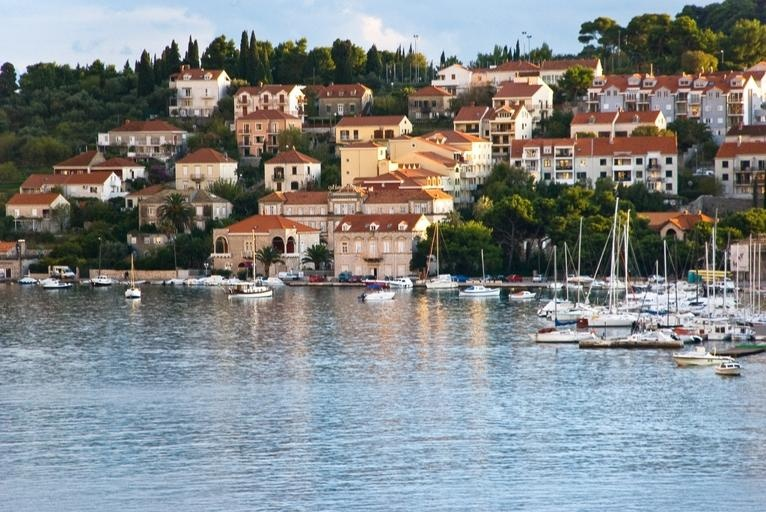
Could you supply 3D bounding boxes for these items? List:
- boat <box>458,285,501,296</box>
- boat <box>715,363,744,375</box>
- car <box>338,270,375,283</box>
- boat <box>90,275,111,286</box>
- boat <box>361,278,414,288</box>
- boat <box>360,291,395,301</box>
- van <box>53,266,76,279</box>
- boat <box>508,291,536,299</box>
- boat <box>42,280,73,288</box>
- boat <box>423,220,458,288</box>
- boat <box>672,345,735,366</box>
[{"bbox_3d":[10.555,4.133,220.356,4.484,1.313,1.681,-1,4,3],"label":"boat"},{"bbox_3d":[30.855,10.241,181.461,2.173,1.194,1.035,0,-1,9],"label":"boat"},{"bbox_3d":[-3.296,2.747,232.250,2.897,1.067,1.669,1,0,14],"label":"car"},{"bbox_3d":[-32.484,3.147,234.847,1.712,0.892,1.237,-3,5,-3],"label":"boat"},{"bbox_3d":[0.806,3.251,228.673,5.216,1.272,4.580,0,-1,7],"label":"boat"},{"bbox_3d":[-0.382,4.533,218.625,3.356,1.271,1.375,-4,8,-17],"label":"boat"},{"bbox_3d":[-37.078,2.085,237.084,2.024,1.196,1.453,0,2,21],"label":"van"},{"bbox_3d":[14.890,4.469,217.240,3.302,1.114,1.026,-2,6,-26],"label":"boat"},{"bbox_3d":[-37.375,3.510,233.328,1.914,0.781,1.477,2,-3,-15],"label":"boat"},{"bbox_3d":[6.297,0.309,227.795,3.038,7.484,5.921,0,0,-10],"label":"boat"},{"bbox_3d":[29.070,9.096,184.581,5.707,2.073,1.933,3,-4,10],"label":"boat"}]
